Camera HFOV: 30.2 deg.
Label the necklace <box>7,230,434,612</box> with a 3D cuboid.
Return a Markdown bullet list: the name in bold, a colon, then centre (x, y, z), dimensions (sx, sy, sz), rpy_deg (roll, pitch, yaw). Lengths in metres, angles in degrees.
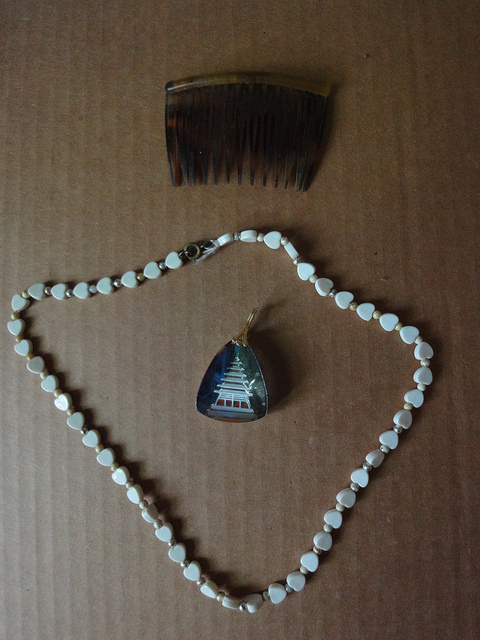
- **necklace**: centre (-0.046, 0.102, 1.366), dimensions (0.577, 0.389, 0.472), rpy_deg (33, -62, -23)
